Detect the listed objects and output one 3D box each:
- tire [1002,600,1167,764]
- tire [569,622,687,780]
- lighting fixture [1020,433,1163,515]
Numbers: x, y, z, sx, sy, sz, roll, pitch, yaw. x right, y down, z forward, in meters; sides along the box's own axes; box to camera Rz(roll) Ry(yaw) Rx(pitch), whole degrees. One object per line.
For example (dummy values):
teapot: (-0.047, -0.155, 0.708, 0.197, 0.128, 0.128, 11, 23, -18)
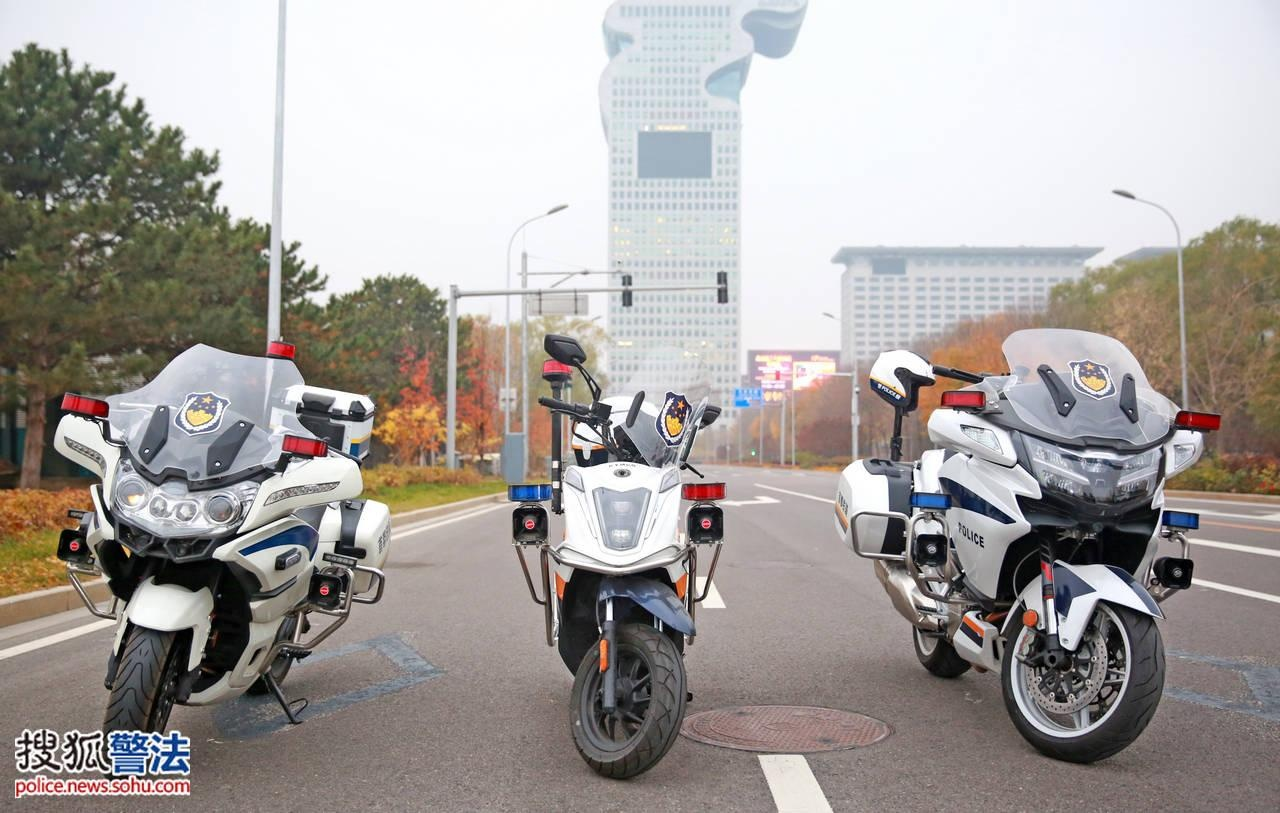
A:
tire: (2.980, 1.873, 6.957, 0.924, 1.107, 0.309, -13, -11, 37)
tire: (-0.072, 2.015, 6.881, 0.778, 0.933, 0.293, -20, -21, 29)
lighting fixture: (3.075, 0.476, 7.092, 0.944, 0.502, 0.364, 1, 4, 18)
